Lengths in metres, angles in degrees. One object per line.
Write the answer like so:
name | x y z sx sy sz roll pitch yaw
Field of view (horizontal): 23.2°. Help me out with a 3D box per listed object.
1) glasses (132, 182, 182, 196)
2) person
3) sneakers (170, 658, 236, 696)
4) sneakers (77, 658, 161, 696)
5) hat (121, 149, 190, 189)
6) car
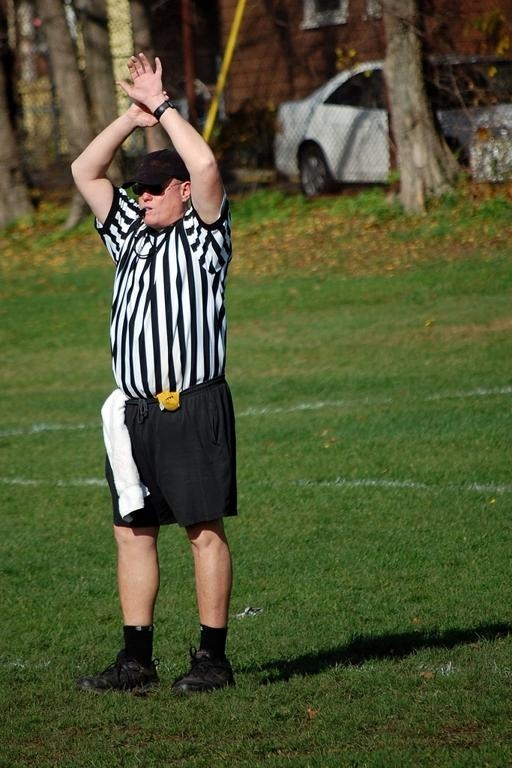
glasses | -0.358 -0.685 4.449 0.087 0.023 0.089 0 3 30
person | -0.362 -0.021 4.528 0.614 2.283 0.922 -5 15 -1
sneakers | -0.187 1.023 4.402 0.208 0.104 0.107 -1 -3 -29
sneakers | -0.486 1.037 4.424 0.272 0.106 0.112 2 -6 -8
hat | -0.356 -0.757 4.463 0.145 0.100 0.203 3 5 43
car | 1.309 -2.573 12.570 2.501 1.014 1.260 -5 7 27
